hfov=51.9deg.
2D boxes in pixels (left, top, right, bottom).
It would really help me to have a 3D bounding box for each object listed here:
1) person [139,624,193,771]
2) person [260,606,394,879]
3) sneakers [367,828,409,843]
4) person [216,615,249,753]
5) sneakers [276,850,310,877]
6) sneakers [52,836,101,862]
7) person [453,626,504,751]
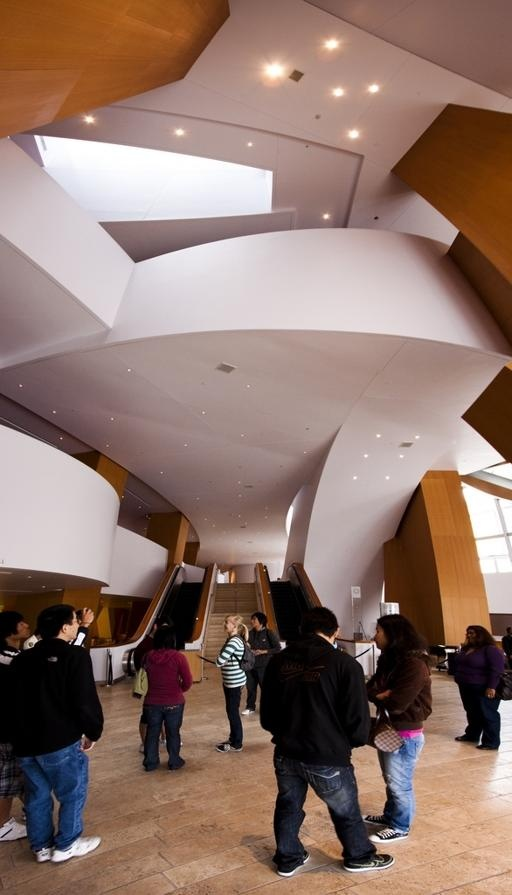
[{"bbox_3d":[-0.766,2.049,4.431,0.398,1.128,0.472,5,-10,-7],"label":"person"},{"bbox_3d":[0.316,1.326,2.502,0.568,1.148,0.439,0,-7,7],"label":"person"},{"bbox_3d":[0.697,2.024,2.838,0.209,0.083,0.075,5,-21,-2],"label":"sneakers"},{"bbox_3d":[-0.244,2.199,5.097,0.276,1.279,0.893,4,-10,-1],"label":"person"},{"bbox_3d":[0.167,1.894,2.487,0.066,0.073,0.188,-8,-15,30],"label":"sneakers"},{"bbox_3d":[-0.939,2.018,2.762,0.082,0.103,0.236,-11,-22,42],"label":"sneakers"},{"bbox_3d":[2.179,2.294,5.224,0.386,1.128,0.569,5,-10,-9],"label":"person"}]
